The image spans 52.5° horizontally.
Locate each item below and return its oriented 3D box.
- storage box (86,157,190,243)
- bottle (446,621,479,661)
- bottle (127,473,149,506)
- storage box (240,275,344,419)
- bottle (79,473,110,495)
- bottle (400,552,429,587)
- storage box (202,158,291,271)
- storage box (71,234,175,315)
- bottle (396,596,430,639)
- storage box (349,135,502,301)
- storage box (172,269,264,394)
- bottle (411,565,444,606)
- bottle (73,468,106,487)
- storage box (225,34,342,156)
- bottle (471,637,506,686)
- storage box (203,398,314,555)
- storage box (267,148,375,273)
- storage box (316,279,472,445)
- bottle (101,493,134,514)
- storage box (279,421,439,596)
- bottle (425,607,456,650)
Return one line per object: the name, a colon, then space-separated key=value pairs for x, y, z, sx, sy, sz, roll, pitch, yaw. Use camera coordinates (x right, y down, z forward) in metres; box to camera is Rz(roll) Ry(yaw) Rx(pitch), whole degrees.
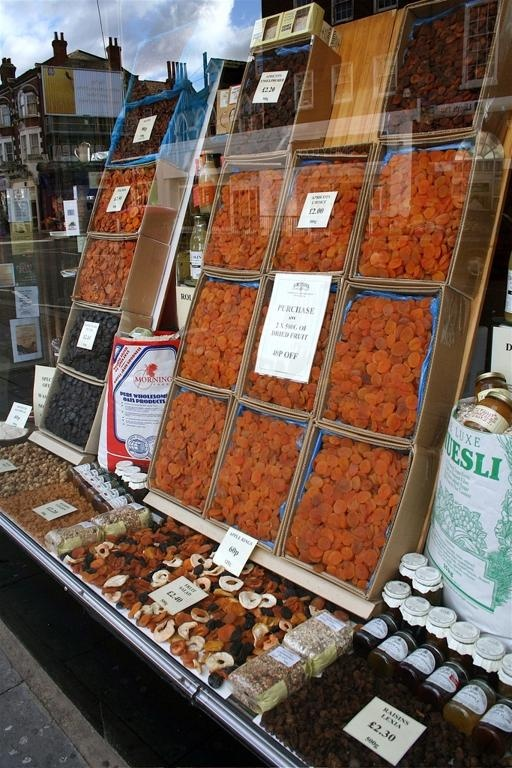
storage box: x=-0.553 y=-0.869 z=2.520 sx=0.256 sy=0.388 sz=0.504 roll=7 pitch=7 yaw=-43
bottle: x=0.388 y=0.478 z=0.990 sx=0.052 sy=0.050 sz=0.052 roll=13 pitch=27 yaw=35
bottle: x=-0.434 y=0.382 z=1.918 sx=0.083 sy=0.105 sz=0.084 roll=0 pitch=9 yaw=0
storage box: x=0.107 y=-0.092 z=1.494 sx=0.279 sy=0.395 sz=0.105 roll=16 pitch=11 yaw=27
bottle: x=-0.642 y=0.377 z=2.062 sx=0.066 sy=0.030 sz=0.129 roll=-5 pitch=20 yaw=-31
bottle: x=0.351 y=0.405 z=1.171 sx=0.062 sy=0.058 sz=0.062 roll=-10 pitch=24 yaw=-13
storage box: x=-0.049 y=-0.576 z=1.798 sx=0.299 sy=0.416 sz=0.124 roll=11 pitch=0 yaw=44
storage box: x=-0.630 y=-0.528 z=2.563 sx=0.135 sy=0.410 sz=0.441 roll=10 pitch=4 yaw=-41
bottle: x=0.323 y=0.467 z=1.078 sx=0.065 sy=0.075 sz=0.065 roll=4 pitch=22 yaw=22
storage box: x=0.462 y=-0.396 z=1.346 sx=0.118 sy=0.385 sz=0.387 roll=11 pitch=5 yaw=-37
storage box: x=-0.108 y=-0.168 z=1.821 sx=0.285 sy=0.394 sz=0.128 roll=15 pitch=4 yaw=34
bottle: x=0.369 y=0.438 z=1.128 sx=0.064 sy=0.080 sz=0.053 roll=-3 pitch=22 yaw=-24
bottle: x=-0.670 y=0.377 z=2.086 sx=0.068 sy=0.018 sz=0.068 roll=19 pitch=17 yaw=-6
storage box: x=0.064 y=-0.979 z=1.797 sx=0.395 sy=0.364 sz=0.219 roll=21 pitch=24 yaw=36
bottle: x=0.418 y=0.492 z=0.937 sx=0.052 sy=0.052 sz=0.053 roll=8 pitch=23 yaw=26
storage box: x=0.051 y=0.262 z=1.588 sx=0.092 sy=0.354 sz=0.335 roll=17 pitch=-1 yaw=-37
storage box: x=0.201 y=-0.517 z=1.576 sx=0.281 sy=0.399 sz=0.108 roll=11 pitch=-5 yaw=38
storage box: x=0.329 y=-0.051 z=1.299 sx=0.304 sy=0.394 sz=0.143 roll=17 pitch=5 yaw=31
bottle: x=-0.500 y=0.419 z=1.883 sx=0.102 sy=0.065 sz=0.065 roll=-20 pitch=14 yaw=-41
storage box: x=0.279 y=0.320 z=1.322 sx=0.121 sy=0.353 sz=0.343 roll=21 pitch=1 yaw=-39
bottle: x=0.362 y=0.473 z=1.028 sx=0.061 sy=0.081 sz=0.062 roll=-1 pitch=24 yaw=0
